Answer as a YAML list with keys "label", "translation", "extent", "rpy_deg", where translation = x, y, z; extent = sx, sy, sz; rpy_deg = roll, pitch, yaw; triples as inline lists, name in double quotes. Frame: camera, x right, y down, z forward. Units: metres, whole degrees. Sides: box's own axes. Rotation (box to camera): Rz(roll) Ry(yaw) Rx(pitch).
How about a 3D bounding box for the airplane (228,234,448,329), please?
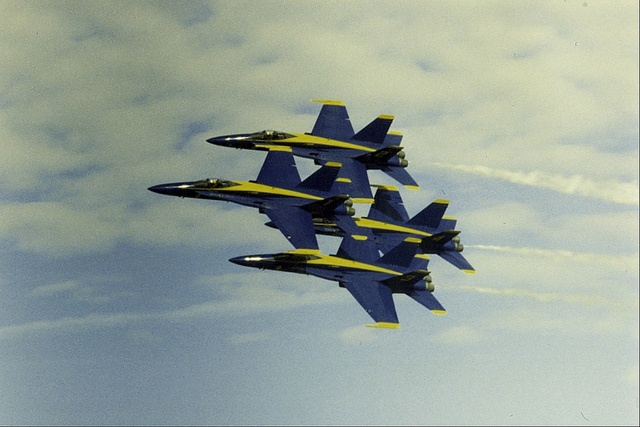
- label: "airplane"
  translation: [1.869, 3.916, 110.323]
  extent: [16.946, 2.852, 10.073]
  rpy_deg: [6, 41, -20]

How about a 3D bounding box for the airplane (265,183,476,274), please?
- label: "airplane"
  translation: [7.110, 0.979, 115.595]
  extent: [13.917, 2.475, 8.314]
  rpy_deg: [9, 39, -13]

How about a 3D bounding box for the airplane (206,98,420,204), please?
- label: "airplane"
  translation: [1.929, -5.777, 118.937]
  extent: [17.472, 3.188, 9.899]
  rpy_deg: [7, 48, -11]

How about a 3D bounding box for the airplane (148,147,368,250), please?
- label: "airplane"
  translation: [-5.706, -0.131, 115.676]
  extent: [15.011, 2.670, 8.560]
  rpy_deg: [7, 45, -14]
